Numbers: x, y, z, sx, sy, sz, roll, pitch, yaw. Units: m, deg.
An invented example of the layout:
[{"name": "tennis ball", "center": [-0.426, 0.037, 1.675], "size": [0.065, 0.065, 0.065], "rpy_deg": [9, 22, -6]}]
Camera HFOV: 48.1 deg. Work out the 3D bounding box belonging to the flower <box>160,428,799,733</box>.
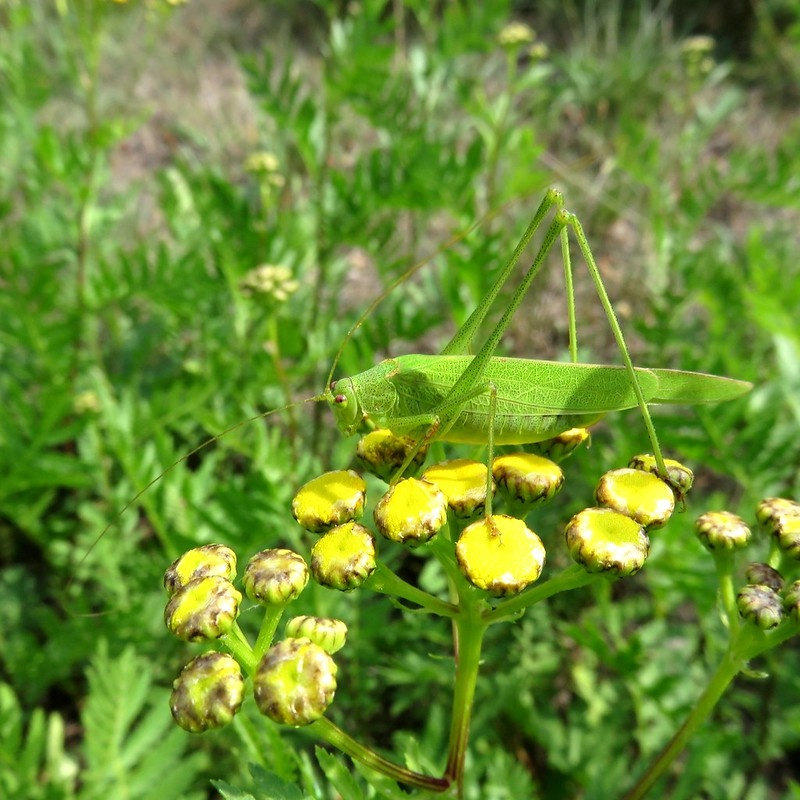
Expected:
[{"name": "flower", "center": [0.097, 0.299, 1.682], "size": [0.862, 0.294, 0.627], "rpy_deg": [-17, 20, -36]}]
